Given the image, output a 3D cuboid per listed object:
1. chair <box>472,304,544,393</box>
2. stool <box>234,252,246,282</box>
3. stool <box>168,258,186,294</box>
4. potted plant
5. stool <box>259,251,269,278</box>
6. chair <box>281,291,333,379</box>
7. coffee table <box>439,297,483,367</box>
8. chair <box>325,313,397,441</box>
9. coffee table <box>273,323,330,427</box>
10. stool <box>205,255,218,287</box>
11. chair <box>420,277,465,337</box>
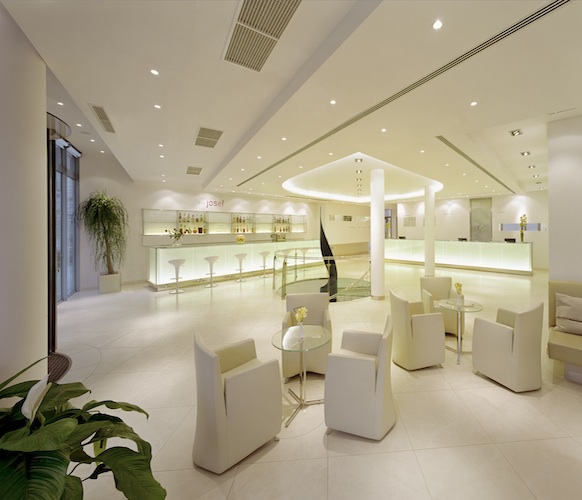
[{"bbox_3d":[2.698,1.114,4.795,0.635,1.075,0.754,-7,10,-9],"label":"chair"},{"bbox_3d":[-1.486,0.482,11.341,0.270,0.899,1.100,-2,11,-8],"label":"stool"},{"bbox_3d":[-2.844,0.621,9.574,0.363,0.870,0.974,-3,12,-16],"label":"stool"},{"bbox_3d":[-4.401,-0.174,9.055,0.905,2.382,0.927,-7,-7,-13],"label":"potted plant"},{"bbox_3d":[-0.837,0.456,12.105,0.277,0.819,0.884,-1,11,-4],"label":"stool"},{"bbox_3d":[0.211,1.138,5.081,0.598,1.075,0.748,-1,2,-2],"label":"chair"},{"bbox_3d":[2.368,0.970,5.502,0.386,0.505,0.403,20,-3,1],"label":"coffee table"},{"bbox_3d":[0.776,1.361,4.490,0.893,1.552,1.067,0,-2,16],"label":"chair"},{"bbox_3d":[0.130,1.447,4.381,0.522,0.620,0.564,-18,-21,41],"label":"coffee table"},{"bbox_3d":[-2.165,0.556,10.452,0.328,0.871,1.019,-2,11,-12],"label":"stool"},{"bbox_3d":[2.499,0.922,6.302,0.613,1.002,0.760,-2,0,25],"label":"chair"}]
